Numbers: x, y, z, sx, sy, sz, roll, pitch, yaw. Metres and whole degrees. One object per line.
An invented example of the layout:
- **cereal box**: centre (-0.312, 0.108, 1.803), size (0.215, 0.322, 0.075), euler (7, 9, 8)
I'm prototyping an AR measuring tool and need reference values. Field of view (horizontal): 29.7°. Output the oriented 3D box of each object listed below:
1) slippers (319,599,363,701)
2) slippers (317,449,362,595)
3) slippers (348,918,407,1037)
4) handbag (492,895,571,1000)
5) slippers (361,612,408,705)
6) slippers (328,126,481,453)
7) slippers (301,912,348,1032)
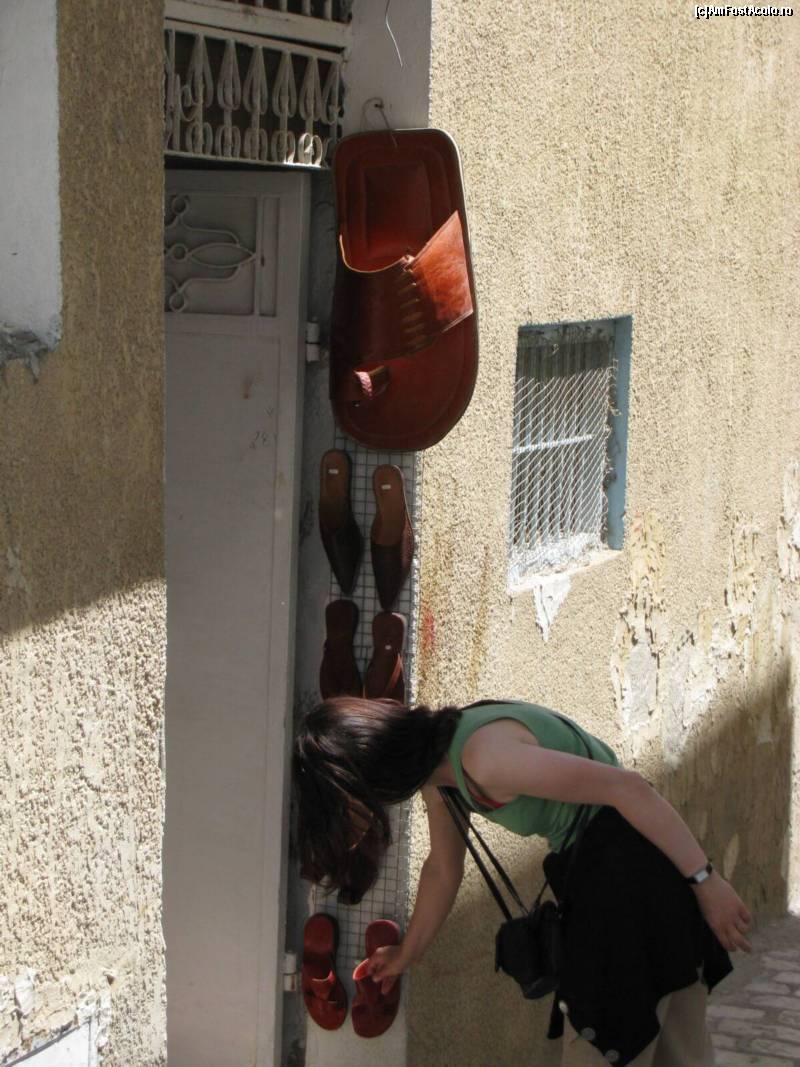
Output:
- **slippers**: centre (-0.148, 0.295, 3.690), size (0.077, 0.261, 0.064), euler (3, 18, 12)
- **slippers**: centre (-0.135, -0.031, 3.701), size (0.097, 0.347, 0.082), euler (2, 18, 27)
- **slippers**: centre (-0.056, 1.134, 3.690), size (0.118, 0.329, 0.110), euler (6, 13, 13)
- **handbag**: centre (0.255, 0.777, 2.816), size (0.073, 0.184, 0.129), euler (5, -24, -45)
- **slippers**: centre (-0.033, 0.308, 3.685), size (0.074, 0.230, 0.055), euler (2, -2, 13)
- **slippers**: centre (0.014, -0.590, 3.544), size (0.317, 0.765, 0.232), euler (0, 12, 9)
- **slippers**: centre (-0.198, 1.098, 3.740), size (0.102, 0.275, 0.075), euler (-9, -11, 2)
